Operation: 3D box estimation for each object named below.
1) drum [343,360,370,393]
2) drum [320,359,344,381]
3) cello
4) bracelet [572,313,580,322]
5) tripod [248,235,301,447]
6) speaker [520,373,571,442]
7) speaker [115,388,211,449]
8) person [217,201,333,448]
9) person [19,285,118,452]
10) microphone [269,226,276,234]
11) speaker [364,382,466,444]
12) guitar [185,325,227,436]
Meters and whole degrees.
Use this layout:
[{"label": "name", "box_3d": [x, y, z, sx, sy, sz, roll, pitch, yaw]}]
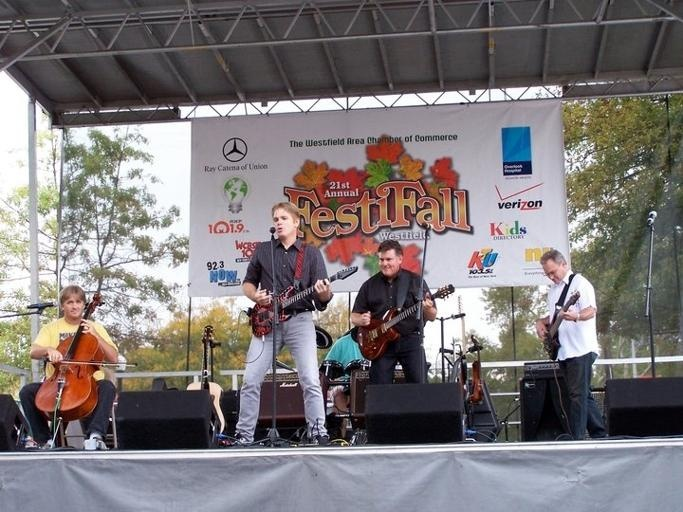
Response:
[{"label": "drum", "box_3d": [0.154, 1.416, 11.772, 0.300, 0.294, 0.297, 23, -37, -25]}, {"label": "drum", "box_3d": [-0.118, 1.379, 11.932, 0.180, 0.297, 0.107, 7, -3, -2]}, {"label": "cello", "box_3d": [-2.845, 1.065, 10.470, 0.556, 1.638, 0.314, -6, -47, 7]}, {"label": "bracelet", "box_3d": [2.582, 0.691, 10.739, 0.052, 0.082, 0.084, 11, -1, 19]}, {"label": "tripod", "box_3d": [-0.675, 0.857, 9.975, 0.447, 2.131, 0.492, 3, -3, -11]}, {"label": "speaker", "box_3d": [2.417, 1.821, 11.629, 0.598, 0.936, 0.604, -2, -1, 12]}, {"label": "speaker", "box_3d": [-1.682, 1.596, 9.506, 0.856, 0.592, 0.851, -2, -4, -35]}, {"label": "person", "box_3d": [-0.624, 0.641, 10.421, 0.919, 2.716, 0.975, 0, -2, -2]}, {"label": "person", "box_3d": [-2.852, 1.155, 10.400, 0.849, 2.018, 0.792, 5, -1, 21]}, {"label": "microphone", "box_3d": [-0.704, -0.265, 9.912, 0.049, 0.078, 0.034, 9, -7, 0]}, {"label": "speaker", "box_3d": [0.676, 1.499, 9.237, 0.898, 0.559, 0.197, -4, -11, 5]}, {"label": "guitar", "box_3d": [-1.573, 1.497, 11.345, 0.499, 1.345, 0.187, 2, 3, 0]}]
